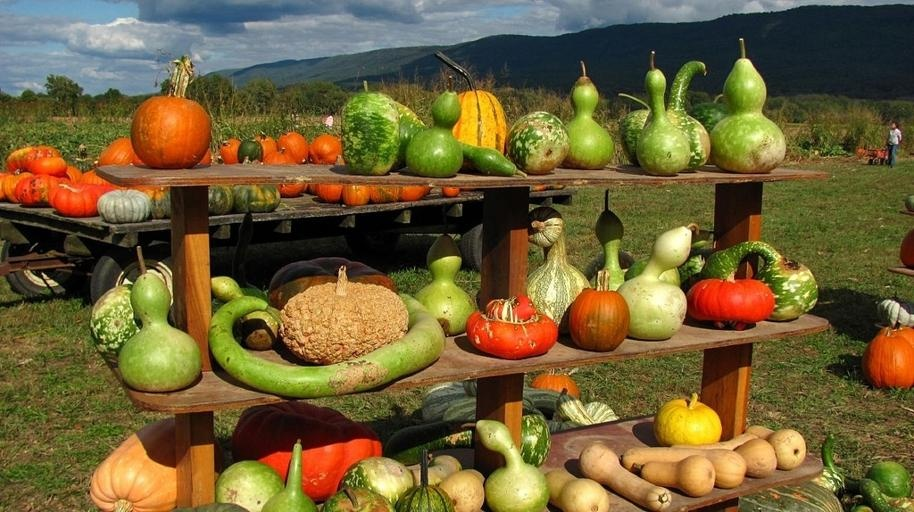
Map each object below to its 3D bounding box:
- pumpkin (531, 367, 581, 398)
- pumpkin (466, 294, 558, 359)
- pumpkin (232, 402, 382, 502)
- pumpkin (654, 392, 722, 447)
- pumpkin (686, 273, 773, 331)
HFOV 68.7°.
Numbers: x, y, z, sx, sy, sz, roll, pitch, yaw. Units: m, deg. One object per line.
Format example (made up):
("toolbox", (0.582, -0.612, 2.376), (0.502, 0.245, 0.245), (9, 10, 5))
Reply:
("pumpkin", (1.144, 1.429, 7.581), (0.373, 0.335, 0.365), (-1, 5, -32))
("pumpkin", (0.414, 0.568, 5.274), (0.548, 0.384, 0.544), (1, 1, -8))
("pumpkin", (-1.266, 1.590, 5.678), (1.008, 0.524, 0.947), (13, -3, -27))
("pumpkin", (2.034, 1.416, 6.039), (0.517, 0.471, 0.490), (3, -3, -22))
("pumpkin", (2.314, 0.383, 5.645), (0.517, 0.386, 0.492), (1, -1, -13))
